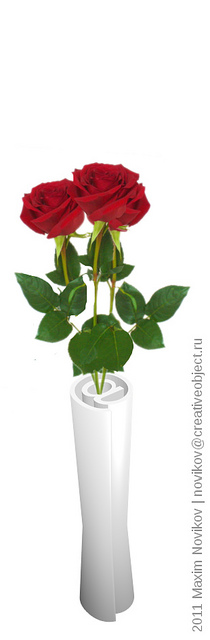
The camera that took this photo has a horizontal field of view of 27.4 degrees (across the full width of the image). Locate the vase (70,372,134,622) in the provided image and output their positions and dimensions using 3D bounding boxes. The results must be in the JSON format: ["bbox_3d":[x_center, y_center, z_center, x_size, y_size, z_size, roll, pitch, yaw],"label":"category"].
[{"bbox_3d":[0.007,0.599,1.402,0.197,0.812,0.238,-10,13,-29],"label":"vase"}]
